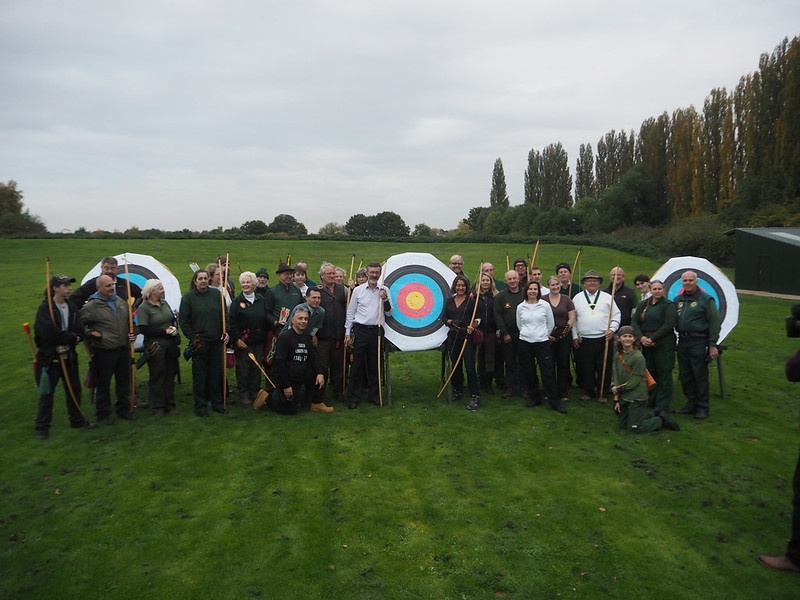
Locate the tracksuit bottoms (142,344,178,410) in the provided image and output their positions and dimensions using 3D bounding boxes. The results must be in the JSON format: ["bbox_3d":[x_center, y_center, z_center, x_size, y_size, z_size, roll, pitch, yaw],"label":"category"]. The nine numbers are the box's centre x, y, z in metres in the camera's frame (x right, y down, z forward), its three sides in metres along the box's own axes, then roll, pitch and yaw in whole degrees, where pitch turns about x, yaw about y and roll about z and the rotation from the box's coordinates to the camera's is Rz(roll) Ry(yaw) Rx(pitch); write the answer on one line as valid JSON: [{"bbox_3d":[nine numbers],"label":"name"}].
[{"bbox_3d":[-4.650,1.518,10.965,0.375,1.332,0.524,-17,-15,35],"label":"tracksuit bottoms"}]

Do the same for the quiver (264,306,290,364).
[{"bbox_3d":[-2.495,0.686,11.302,0.284,1.311,0.512,14,31,-10],"label":"quiver"}]

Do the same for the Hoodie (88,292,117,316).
[{"bbox_3d":[-5.578,0.021,10.406,0.491,0.299,0.383,26,19,24],"label":"Hoodie"}]

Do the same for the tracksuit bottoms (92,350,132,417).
[{"bbox_3d":[-5.497,1.487,10.605,0.465,1.631,0.672,13,12,41],"label":"tracksuit bottoms"}]

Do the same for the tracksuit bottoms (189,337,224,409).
[{"bbox_3d":[-3.820,1.525,11.058,0.604,1.473,0.383,-4,6,-21],"label":"tracksuit bottoms"}]

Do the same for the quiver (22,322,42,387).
[{"bbox_3d":[-7.850,1.216,11.787,0.208,1.593,0.225,8,26,7],"label":"quiver"}]

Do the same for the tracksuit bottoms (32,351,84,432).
[{"bbox_3d":[-6.176,1.509,10.134,0.803,1.973,0.397,-8,31,-44],"label":"tracksuit bottoms"}]

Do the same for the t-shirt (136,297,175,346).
[{"bbox_3d":[-4.699,0.396,10.776,0.563,0.894,0.844,-2,4,30],"label":"t-shirt"}]

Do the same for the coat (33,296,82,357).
[{"bbox_3d":[-6.154,0.536,10.012,0.659,1.195,0.830,-5,-3,29],"label":"coat"}]

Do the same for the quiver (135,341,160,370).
[{"bbox_3d":[-4.825,1.054,10.437,0.570,0.341,0.187,-39,0,-14],"label":"quiver"}]

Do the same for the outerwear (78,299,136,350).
[{"bbox_3d":[-5.492,0.431,10.479,0.657,1.113,1.063,-9,-4,36],"label":"outerwear"}]
